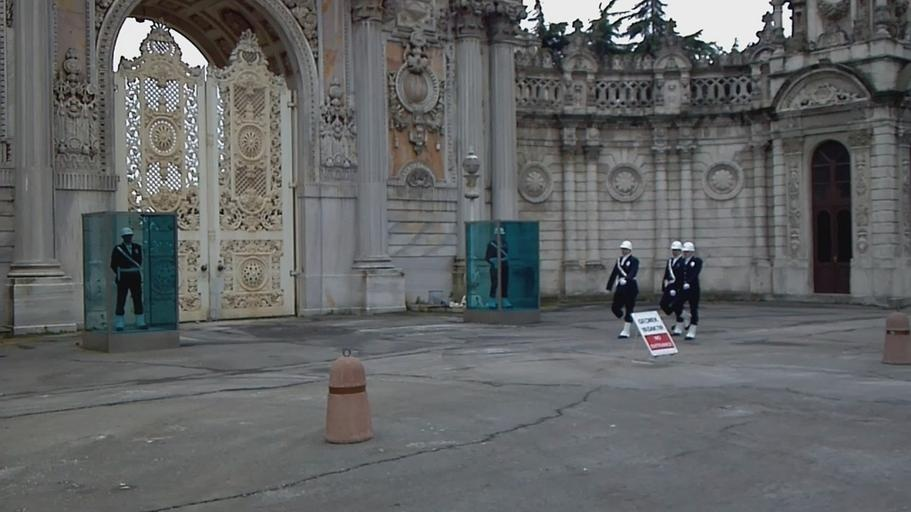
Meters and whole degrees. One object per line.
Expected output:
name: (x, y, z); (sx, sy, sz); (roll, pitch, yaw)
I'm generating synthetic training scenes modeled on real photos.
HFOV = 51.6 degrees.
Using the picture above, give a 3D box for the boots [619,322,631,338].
boots: (4.759, 2.064, 26.449); (0.339, 0.500, 0.962); (3, 13, 11)

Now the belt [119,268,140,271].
belt: (-8.360, 0.357, 24.149); (0.477, 0.120, 0.045); (-5, 14, -21)

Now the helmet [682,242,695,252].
helmet: (7.083, -0.282, 28.683); (0.426, 0.301, 0.627); (-1, -5, 19)

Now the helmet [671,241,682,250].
helmet: (6.368, -0.342, 27.112); (0.330, 0.262, 0.444); (-2, -5, 8)

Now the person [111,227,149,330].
person: (-8.430, 0.613, 24.247); (0.811, 2.636, 0.290); (-5, 14, -20)

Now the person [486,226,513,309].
person: (1.310, 0.318, 28.806); (0.715, 2.540, 0.341); (-1, 13, -2)

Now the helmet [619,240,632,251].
helmet: (5.444, -0.329, 30.092); (0.396, 0.289, 0.568); (-2, -15, 23)

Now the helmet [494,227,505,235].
helmet: (1.354, -0.780, 28.666); (0.322, 0.222, 0.088); (-1, 13, -3)

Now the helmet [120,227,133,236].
helmet: (-8.414, -0.625, 24.093); (0.220, 0.110, 0.182); (-4, 2, 21)

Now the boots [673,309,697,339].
boots: (6.598, 1.945, 26.495); (0.830, 0.760, 0.709); (5, -8, -42)
